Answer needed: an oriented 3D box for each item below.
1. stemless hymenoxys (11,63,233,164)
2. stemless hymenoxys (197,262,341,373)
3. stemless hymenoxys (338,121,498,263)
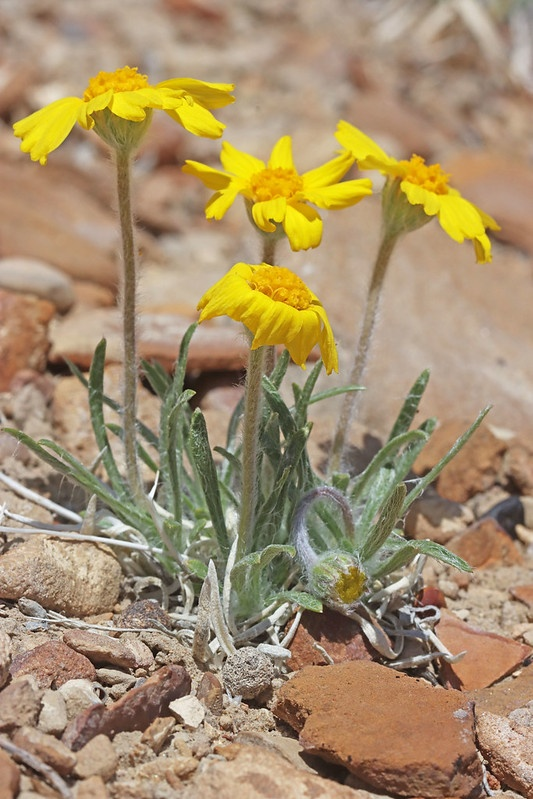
[{"bbox_3d":[-0.405,-0.836,2.447,0.492,0.193,0.487,-14,1,39],"label":"stemless hymenoxys"},{"bbox_3d":[0.006,-0.238,2.195,0.331,0.151,0.332,37,24,18],"label":"stemless hymenoxys"},{"bbox_3d":[0.461,-0.674,2.688,0.514,0.165,0.486,33,10,32],"label":"stemless hymenoxys"}]
